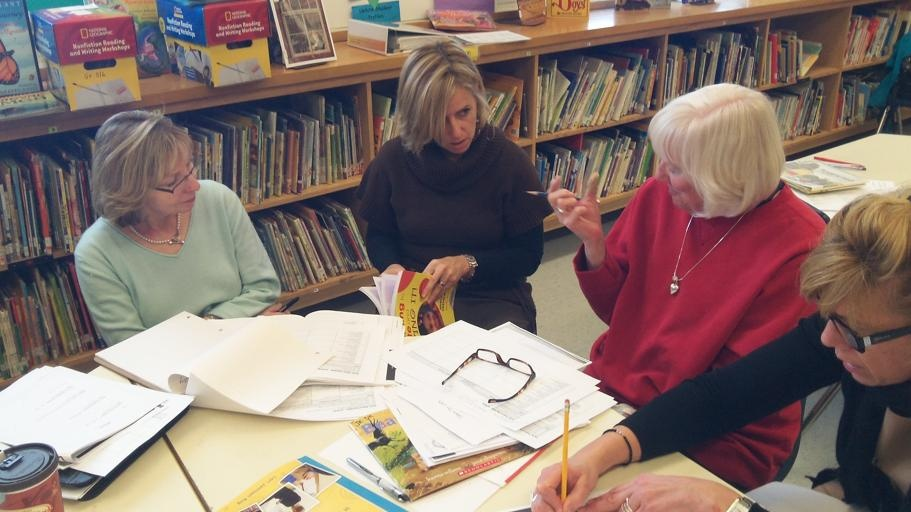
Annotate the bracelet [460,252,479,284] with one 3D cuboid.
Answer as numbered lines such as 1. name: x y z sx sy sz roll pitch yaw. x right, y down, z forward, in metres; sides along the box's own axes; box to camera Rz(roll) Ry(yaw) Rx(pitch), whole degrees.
1. bracelet: 0.076 0.056 3.002 0.086 0.119 0.111 1 -5 -24

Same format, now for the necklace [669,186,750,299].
1. necklace: 0.941 -0.028 2.457 0.063 0.369 0.161 18 17 -40

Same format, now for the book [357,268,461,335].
1. book: -0.213 0.188 2.875 0.350 0.301 0.236 -17 73 -46

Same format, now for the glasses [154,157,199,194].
1. glasses: -1.169 -0.338 2.761 0.058 0.107 0.202 15 34 32

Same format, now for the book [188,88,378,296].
1. book: -0.930 -0.380 3.439 0.396 0.891 1.012 13 28 43

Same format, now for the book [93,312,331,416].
1. book: -0.891 0.377 2.382 0.524 0.116 0.492 14 25 19

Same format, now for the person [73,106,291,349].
1. person: -1.253 -0.128 2.902 0.801 0.964 0.740 27 48 29

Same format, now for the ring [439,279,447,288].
1. ring: -0.055 0.120 2.907 0.011 0.035 0.034 -17 37 56

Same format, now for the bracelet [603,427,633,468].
1. bracelet: 0.552 0.649 2.178 0.028 0.113 0.107 -18 51 51
